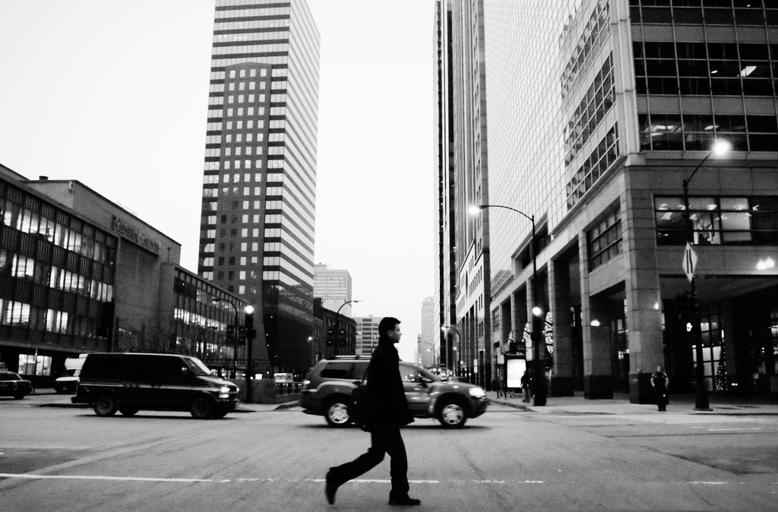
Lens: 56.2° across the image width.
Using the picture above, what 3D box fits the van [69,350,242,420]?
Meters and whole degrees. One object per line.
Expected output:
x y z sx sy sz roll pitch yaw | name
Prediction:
-10.997 6.269 35.219 6.470 2.670 3.390 0 -11 0 | van
